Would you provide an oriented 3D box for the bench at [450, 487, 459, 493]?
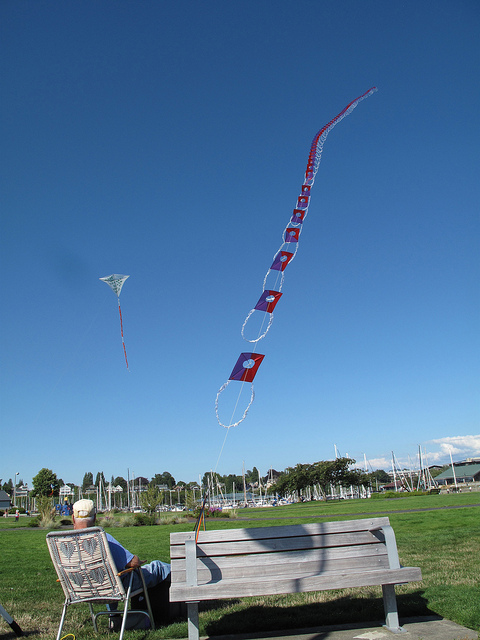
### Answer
[{"bbox_3d":[33.270,26.199,72.613,0.627,0.768,1.031,-5,-23,-1],"label":"bench"}]

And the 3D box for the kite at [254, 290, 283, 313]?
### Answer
[{"bbox_3d":[0.392,-0.258,6.620,0.297,0.362,0.036,23,-14,-6],"label":"kite"}]

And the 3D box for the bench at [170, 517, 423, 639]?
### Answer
[{"bbox_3d":[0.410,2.039,3.630,1.884,0.865,0.544,0,-16,-12],"label":"bench"}]
